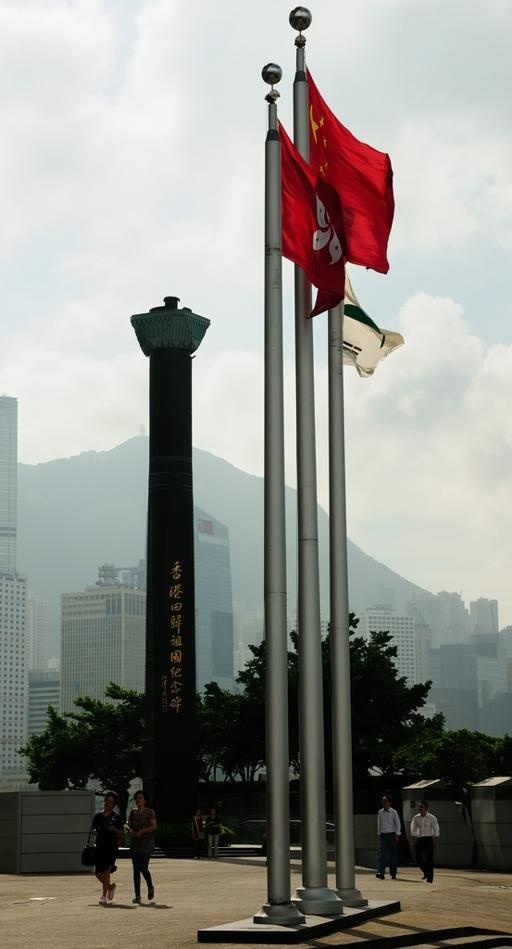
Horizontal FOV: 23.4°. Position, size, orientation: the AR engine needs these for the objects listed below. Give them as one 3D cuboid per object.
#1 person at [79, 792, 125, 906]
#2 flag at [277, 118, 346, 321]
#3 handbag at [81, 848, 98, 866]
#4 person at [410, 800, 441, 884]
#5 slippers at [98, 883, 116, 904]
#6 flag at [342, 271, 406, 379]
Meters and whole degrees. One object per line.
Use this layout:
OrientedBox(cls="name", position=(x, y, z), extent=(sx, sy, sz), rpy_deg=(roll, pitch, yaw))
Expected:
OrientedBox(cls="person", position=(-2.008, 4.924, 16.148), extent=(0.498, 1.394, 0.889), rpy_deg=(1, -11, -6))
OrientedBox(cls="flag", position=(0.634, -2.839, 13.870), extent=(0.703, 2.172, 0.590), rpy_deg=(-1, -11, 4))
OrientedBox(cls="handbag", position=(-2.143, 4.919, 15.875), extent=(0.166, 0.241, 0.331), rpy_deg=(1, -12, -8))
OrientedBox(cls="person", position=(2.888, 6.284, 20.968), extent=(0.410, 1.362, 1.262), rpy_deg=(-2, -11, 6))
OrientedBox(cls="slippers", position=(-1.936, 5.520, 16.068), extent=(0.147, 0.388, 0.132), rpy_deg=(32, -51, -29))
OrientedBox(cls="flag", position=(1.510, -1.932, 16.544), extent=(0.855, 1.250, 0.409), rpy_deg=(3, -11, -18))
